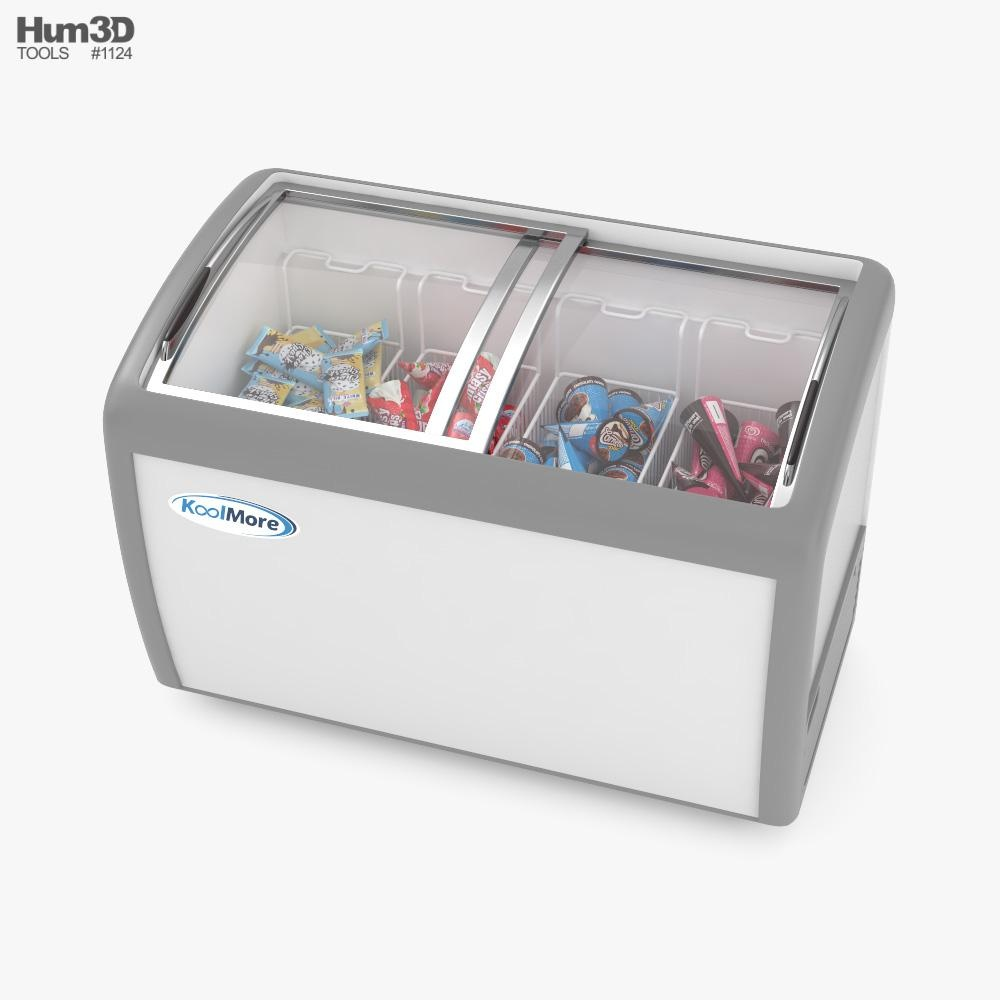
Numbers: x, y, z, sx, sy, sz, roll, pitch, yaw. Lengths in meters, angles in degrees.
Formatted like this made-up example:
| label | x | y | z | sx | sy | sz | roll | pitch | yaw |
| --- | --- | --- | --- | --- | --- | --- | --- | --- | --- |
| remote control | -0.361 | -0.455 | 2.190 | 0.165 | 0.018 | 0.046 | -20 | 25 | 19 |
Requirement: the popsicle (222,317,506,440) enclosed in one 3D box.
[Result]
| label | x | y | z | sx | sy | sz | roll | pitch | yaw |
| --- | --- | --- | --- | --- | --- | --- | --- | --- | --- |
| popsicle | -0.285 | -0.250 | 2.279 | 0.487 | 0.262 | 0.138 | 11 | -36 | 8 |

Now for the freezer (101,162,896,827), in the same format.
| label | x | y | z | sx | sy | sz | roll | pitch | yaw |
| --- | --- | --- | --- | --- | --- | --- | --- | --- | --- |
| freezer | 0.210 | -0.030 | 2.868 | 1.979 | 1.570 | 1.110 | 10 | 33 | 16 |
